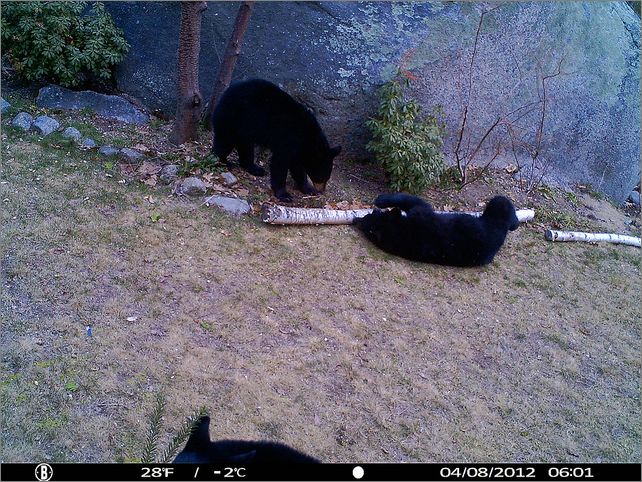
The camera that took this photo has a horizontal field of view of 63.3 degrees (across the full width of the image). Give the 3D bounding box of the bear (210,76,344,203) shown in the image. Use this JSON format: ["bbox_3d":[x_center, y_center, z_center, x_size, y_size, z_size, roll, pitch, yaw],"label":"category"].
[{"bbox_3d":[-0.612,-1.401,7.088,1.810,1.392,0.829,25,29,8],"label":"bear"}]
